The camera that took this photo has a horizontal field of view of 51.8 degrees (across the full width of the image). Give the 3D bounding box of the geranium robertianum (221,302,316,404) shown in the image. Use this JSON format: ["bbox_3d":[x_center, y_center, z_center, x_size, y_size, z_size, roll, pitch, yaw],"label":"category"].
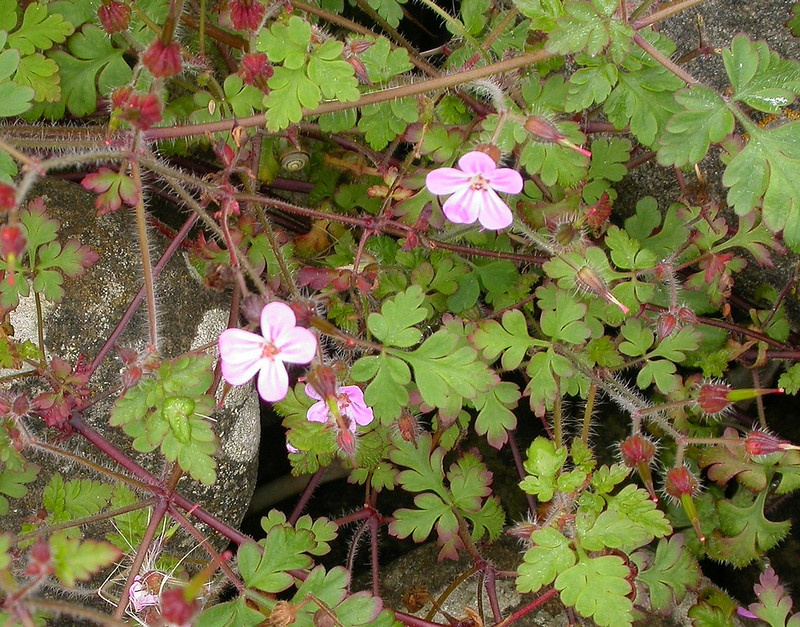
[{"bbox_3d":[-0.472,0.147,2.931,0.324,0.292,0.257,-14,60,-23],"label":"geranium robertianum"}]
